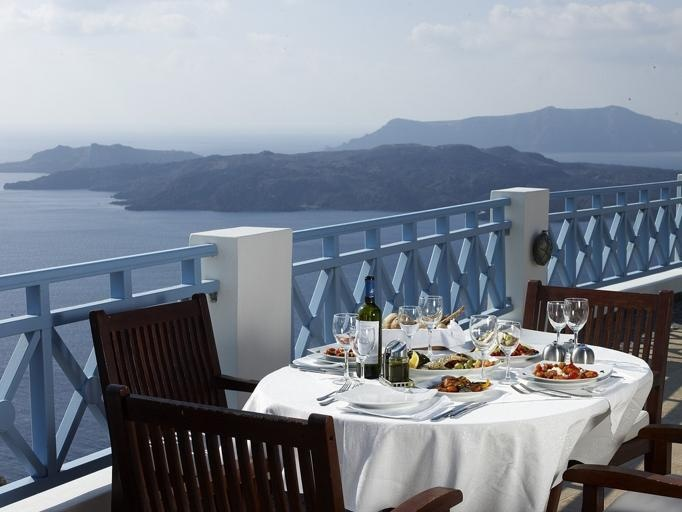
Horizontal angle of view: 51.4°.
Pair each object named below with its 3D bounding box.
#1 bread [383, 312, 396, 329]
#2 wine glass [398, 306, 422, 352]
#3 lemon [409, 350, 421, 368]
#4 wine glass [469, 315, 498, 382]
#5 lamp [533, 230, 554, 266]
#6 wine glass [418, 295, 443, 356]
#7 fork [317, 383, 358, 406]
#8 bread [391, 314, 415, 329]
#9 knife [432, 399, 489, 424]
[{"bbox_3d":[0.188,0.240,2.691,0.046,0.056,0.051,-5,-6,36],"label":"bread"},{"bbox_3d":[0.232,0.238,2.403,0.068,0.129,0.177,0,11,7],"label":"wine glass"},{"bbox_3d":[0.245,0.338,2.348,0.015,0.045,0.035,15,1,-42],"label":"lemon"},{"bbox_3d":[0.461,0.281,2.297,0.086,0.218,0.212,1,11,11],"label":"wine glass"},{"bbox_3d":[1.449,-0.062,5.076,0.210,0.241,0.183,3,3,32],"label":"lamp"},{"bbox_3d":[0.316,0.222,2.516,0.080,0.220,0.227,0,11,7],"label":"wine glass"},{"bbox_3d":[-0.018,0.416,2.164,0.043,0.017,0.184,10,16,19],"label":"fork"},{"bbox_3d":[0.206,0.231,2.381,0.068,0.076,0.064,0,4,8],"label":"bread"},{"bbox_3d":[0.345,0.439,2.023,0.229,0.018,0.054,-14,11,-43],"label":"knife"}]
